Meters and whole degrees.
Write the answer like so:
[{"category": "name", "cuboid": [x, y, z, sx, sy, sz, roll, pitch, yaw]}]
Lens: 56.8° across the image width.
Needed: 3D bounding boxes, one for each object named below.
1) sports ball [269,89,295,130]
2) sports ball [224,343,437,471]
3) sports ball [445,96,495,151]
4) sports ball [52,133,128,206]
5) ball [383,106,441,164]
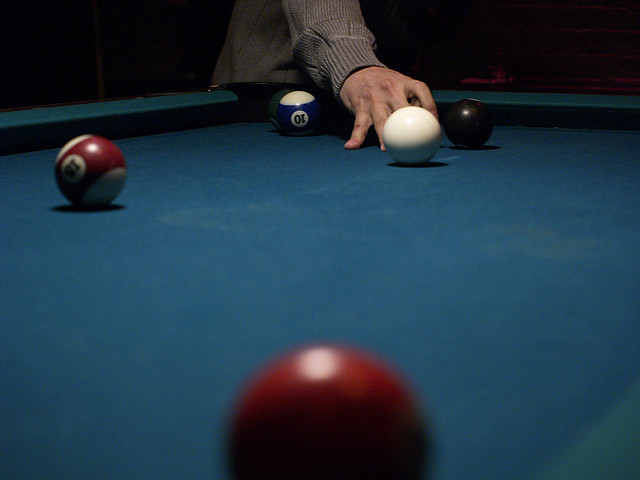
[{"category": "sports ball", "cuboid": [-0.267, -0.840, 3.843, 0.163, 0.188, 0.224, 0, -87, -17]}, {"category": "sports ball", "cuboid": [0.011, 0.182, 0.814, 0.180, 0.202, 0.202, 1, -95, 0]}, {"category": "sports ball", "cuboid": [0.759, -0.623, 3.209, 0.268, 0.263, 0.323, -4, -93, -10]}, {"category": "sports ball", "cuboid": [-0.802, -0.236, 2.094, 0.230, 0.239, 0.282, -5, -88, 16]}, {"category": "ball", "cuboid": [0.393, -0.490, 2.694, 0.238, 0.304, 0.244, -5, -73, -18]}]
